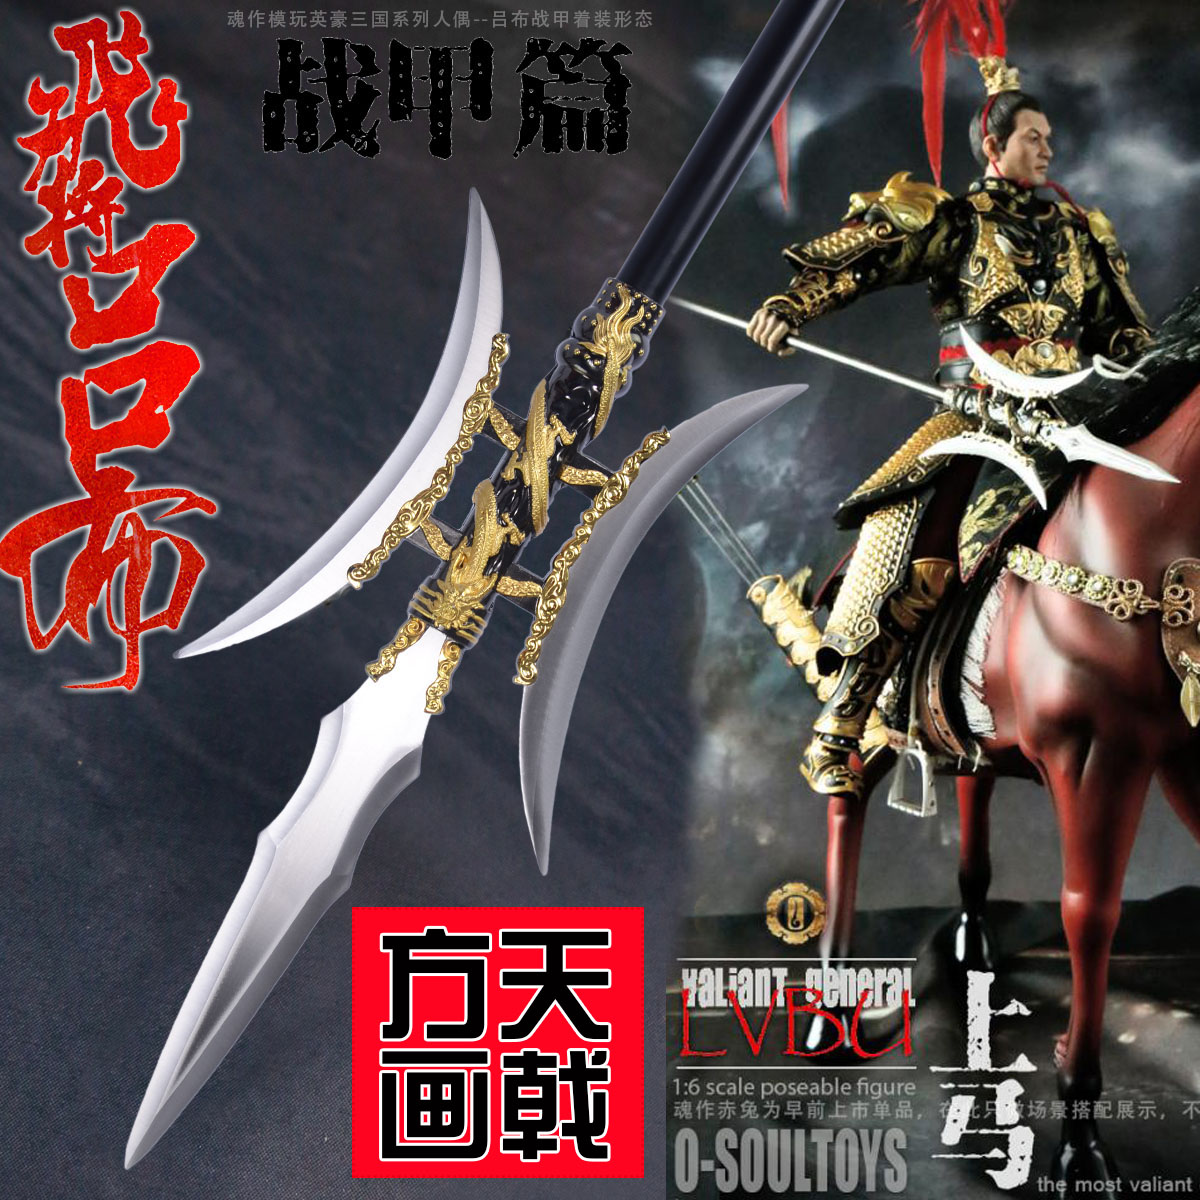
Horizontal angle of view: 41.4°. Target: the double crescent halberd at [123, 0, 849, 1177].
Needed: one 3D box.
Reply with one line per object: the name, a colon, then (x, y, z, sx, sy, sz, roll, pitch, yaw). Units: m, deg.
double crescent halberd: (-0.225, -0.082, 3.056, 1.098, 2.162, 0.638, 3, -22, 15)
